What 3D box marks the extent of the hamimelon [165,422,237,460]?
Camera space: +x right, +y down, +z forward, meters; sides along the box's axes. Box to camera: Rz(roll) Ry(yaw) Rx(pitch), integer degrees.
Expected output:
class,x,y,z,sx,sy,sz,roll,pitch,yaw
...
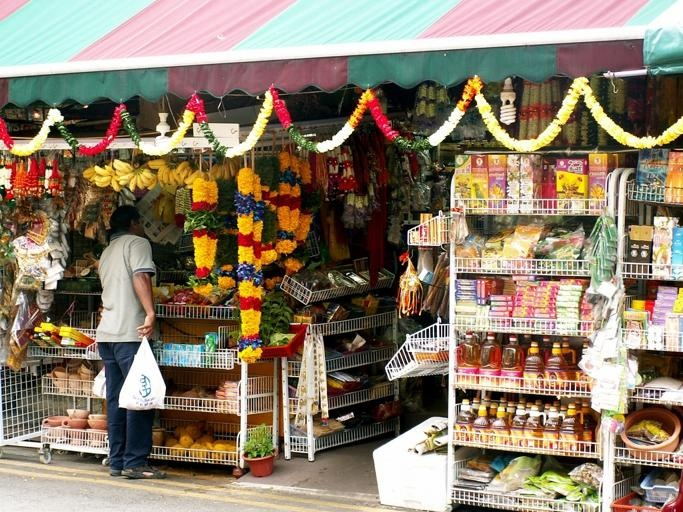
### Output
class,x,y,z,sx,sy,sz,roll,pitch,yaw
hamimelon,-1.344,1.771,7.734,0.496,0.124,0.280,3,14,6

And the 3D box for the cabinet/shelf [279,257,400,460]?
class,x,y,z,sx,sy,sz,roll,pitch,yaw
cabinet/shelf,0.015,1.044,8.307,0.541,1.797,1.641,0,3,41

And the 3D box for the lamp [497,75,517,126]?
class,x,y,z,sx,sy,sz,roll,pitch,yaw
lamp,1.381,-1.277,6.749,0.139,0.394,0.203,-2,2,12

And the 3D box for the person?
class,x,y,z,sx,sy,sz,roll,pitch,yaw
person,-1.952,0.774,7.417,0.475,2.452,0.656,-4,3,-38

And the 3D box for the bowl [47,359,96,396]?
class,x,y,z,sx,sy,sz,roll,pitch,yaw
bowl,-2.644,1.170,8.061,0.370,0.130,0.351,1,-1,0

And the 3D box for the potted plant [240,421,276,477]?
class,x,y,z,sx,sy,sz,roll,pitch,yaw
potted plant,-0.758,1.777,7.437,0.284,0.442,0.266,-2,2,-6

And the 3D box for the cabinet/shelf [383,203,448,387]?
class,x,y,z,sx,sy,sz,roll,pitch,yaw
cabinet/shelf,0.682,0.387,6.867,0.430,1.642,0.368,0,8,24
